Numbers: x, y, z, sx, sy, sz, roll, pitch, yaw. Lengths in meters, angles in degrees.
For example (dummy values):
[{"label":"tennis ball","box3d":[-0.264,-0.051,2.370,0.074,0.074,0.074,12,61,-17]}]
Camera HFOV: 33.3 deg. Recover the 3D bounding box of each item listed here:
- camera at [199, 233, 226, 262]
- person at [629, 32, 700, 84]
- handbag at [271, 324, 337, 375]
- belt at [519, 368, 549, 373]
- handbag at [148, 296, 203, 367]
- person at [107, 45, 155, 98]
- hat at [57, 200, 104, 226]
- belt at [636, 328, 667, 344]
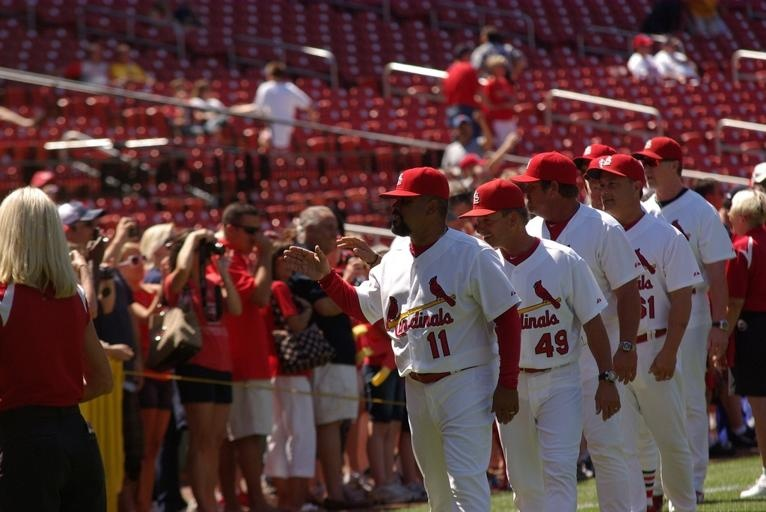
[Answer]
[{"label":"camera","box3d":[-1.806,-0.082,13.299,0.249,0.236,0.240,15,36,36]},{"label":"person","box3d":[5.809,-4.316,27.954,1.213,0.970,2.030,1,0,-17]},{"label":"handbag","box3d":[-0.898,1.003,13.825,0.482,0.344,0.253,-8,-28,-14]},{"label":"belt","box3d":[1.441,1.093,12.226,0.271,0.057,0.027,-7,-18,10]},{"label":"handbag","box3d":[-2.128,0.810,13.133,0.553,0.632,0.336,-14,-13,-9]},{"label":"person","box3d":[-5.045,-3.682,25.597,0.870,1.480,1.619,0,-18,-10]},{"label":"hat","box3d":[-3.197,-0.448,13.488,0.411,0.144,0.254,-10,14,0]},{"label":"belt","box3d":[2.677,0.806,12.844,0.299,0.135,0.036,-4,-18,2]}]
